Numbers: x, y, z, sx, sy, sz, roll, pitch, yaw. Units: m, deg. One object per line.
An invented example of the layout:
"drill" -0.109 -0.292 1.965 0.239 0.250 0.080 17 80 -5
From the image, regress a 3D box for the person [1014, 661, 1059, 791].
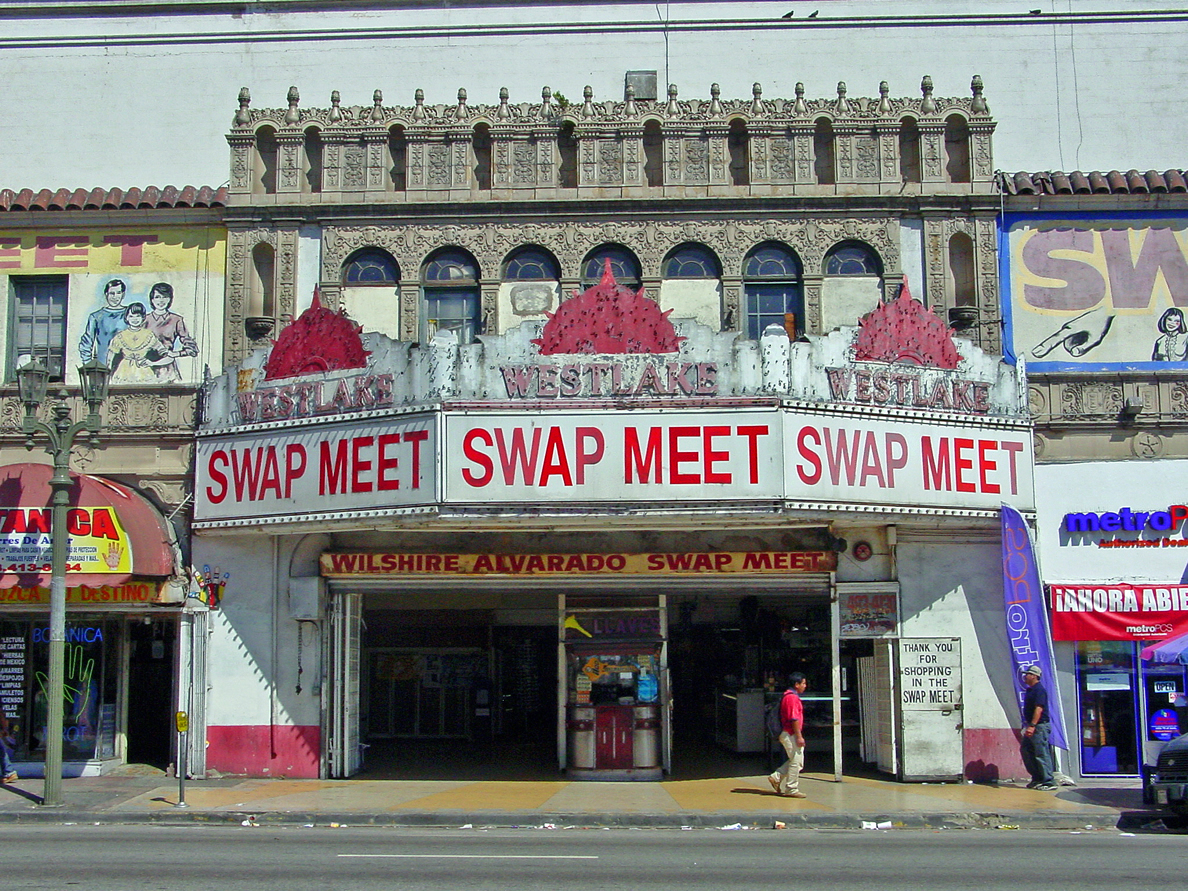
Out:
"person" 8.236 5.278 35.065 0.599 2.242 0.937 -4 0 12
